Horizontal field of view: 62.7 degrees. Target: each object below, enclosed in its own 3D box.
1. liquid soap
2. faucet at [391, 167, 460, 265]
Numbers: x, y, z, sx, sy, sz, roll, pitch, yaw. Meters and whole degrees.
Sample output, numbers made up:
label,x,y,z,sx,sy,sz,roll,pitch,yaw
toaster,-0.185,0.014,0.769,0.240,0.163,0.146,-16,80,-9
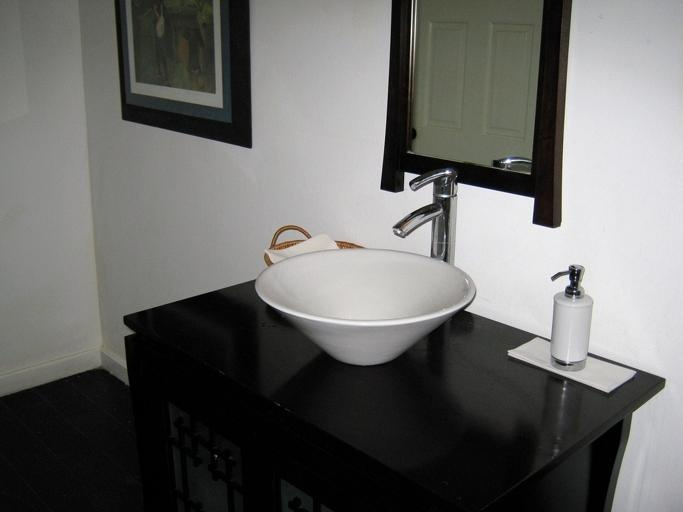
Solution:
label,x,y,z,sx,sy,sz,roll,pitch,yaw
liquid soap,0.475,0.125,1.173,0.080,0.224,0.080,-6,20,-7
faucet,0.206,-0.073,1.356,0.169,0.277,0.066,-14,31,-19
